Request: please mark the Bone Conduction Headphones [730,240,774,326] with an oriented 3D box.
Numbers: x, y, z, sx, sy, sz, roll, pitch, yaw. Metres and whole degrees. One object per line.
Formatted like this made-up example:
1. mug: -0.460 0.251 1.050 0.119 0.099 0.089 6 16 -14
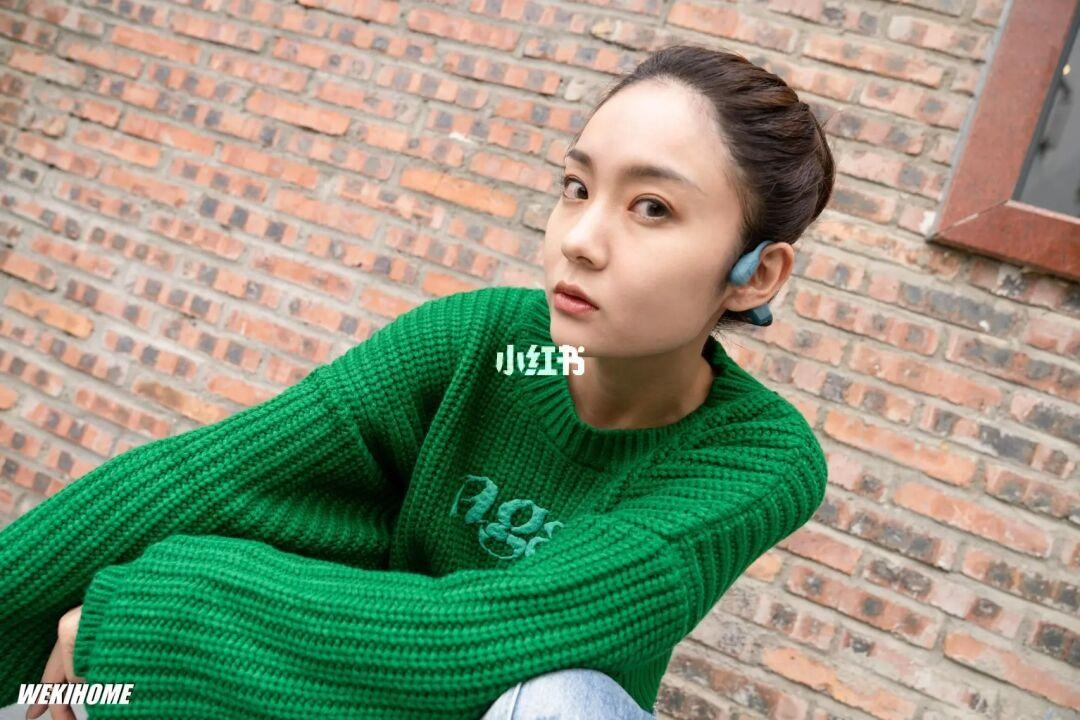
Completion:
1. Bone Conduction Headphones: 0.441 -0.158 1.875 0.150 0.144 0.054 5 -1 13
